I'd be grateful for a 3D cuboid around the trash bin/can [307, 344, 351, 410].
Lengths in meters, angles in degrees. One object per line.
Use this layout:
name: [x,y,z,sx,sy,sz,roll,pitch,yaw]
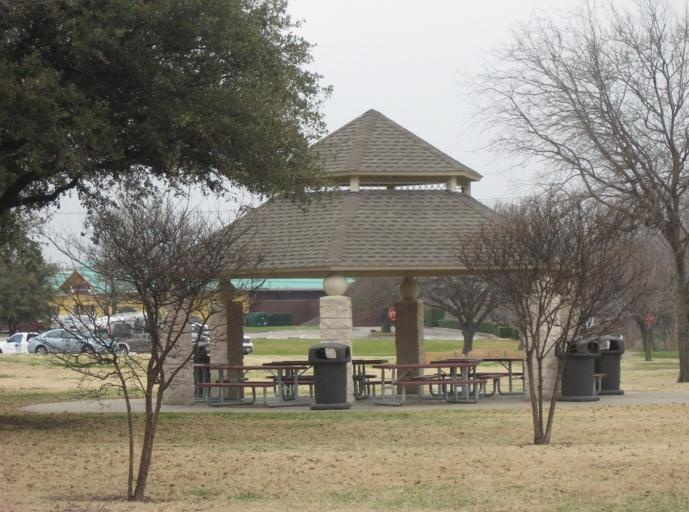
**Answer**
trash bin/can: [-0.454,3.192,39.257,1.201,1.684,1.092,1,-1,-16]
